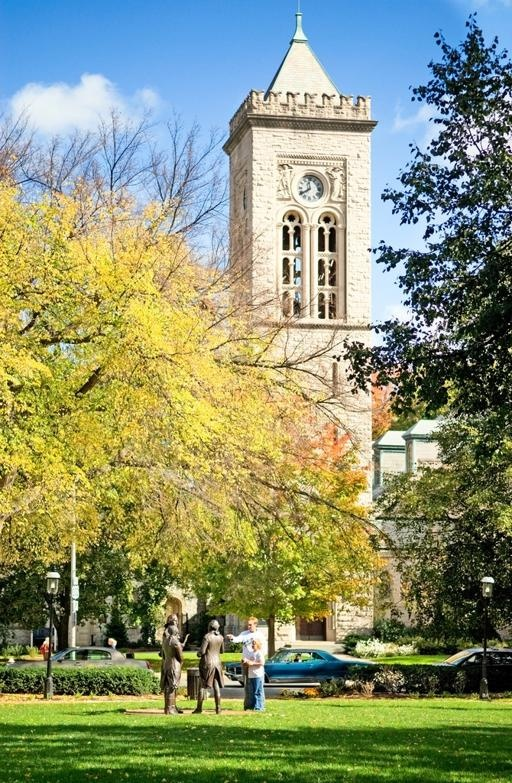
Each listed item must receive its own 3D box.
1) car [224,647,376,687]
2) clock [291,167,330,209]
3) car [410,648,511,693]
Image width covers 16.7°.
[{"bbox_3d":[1.013,6.189,39.320,2.490,0.783,1.365,0,-10,1],"label":"car"},{"bbox_3d":[1.919,-7.143,61.406,1.371,1.505,0.129,-1,-5,-21],"label":"clock"},{"bbox_3d":[4.817,6.036,38.291,1.667,0.851,1.025,4,-10,-11],"label":"car"}]
